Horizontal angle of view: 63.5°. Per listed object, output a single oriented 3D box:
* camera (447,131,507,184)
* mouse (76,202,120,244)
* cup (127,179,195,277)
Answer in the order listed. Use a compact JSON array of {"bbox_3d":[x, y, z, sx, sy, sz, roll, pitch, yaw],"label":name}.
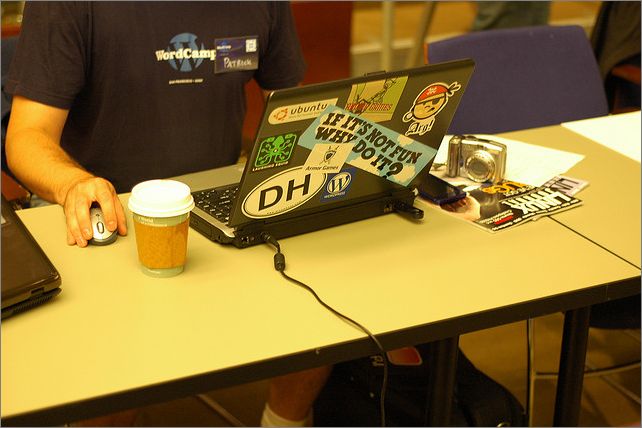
[{"bbox_3d":[0.471,-0.166,1.593,0.168,0.135,0.087,21,33,39],"label":"camera"},{"bbox_3d":[-0.561,0.034,1.317,0.089,0.038,0.125,-11,38,-28],"label":"mouse"},{"bbox_3d":[-0.365,0.040,1.210,0.154,0.183,0.155,3,13,-1],"label":"cup"}]
